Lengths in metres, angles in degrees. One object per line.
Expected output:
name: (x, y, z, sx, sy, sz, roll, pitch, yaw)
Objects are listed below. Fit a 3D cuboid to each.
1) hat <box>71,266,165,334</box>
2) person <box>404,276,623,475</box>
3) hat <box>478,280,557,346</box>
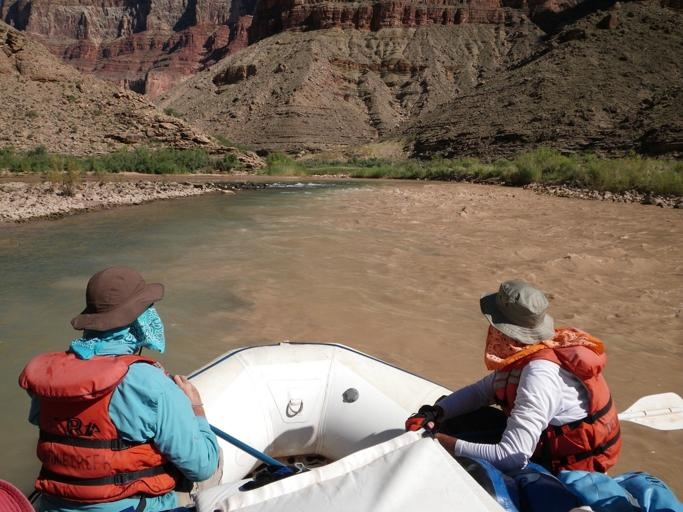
hat: (-1.303, 0.231, 3.519, 0.462, 0.182, 0.494, 2, 16, 24)
person: (1.250, 0.790, 3.701, 1.006, 1.165, 0.661, 7, 15, 21)
hat: (1.119, 0.393, 3.906, 0.473, 0.206, 0.486, -20, 38, -21)
